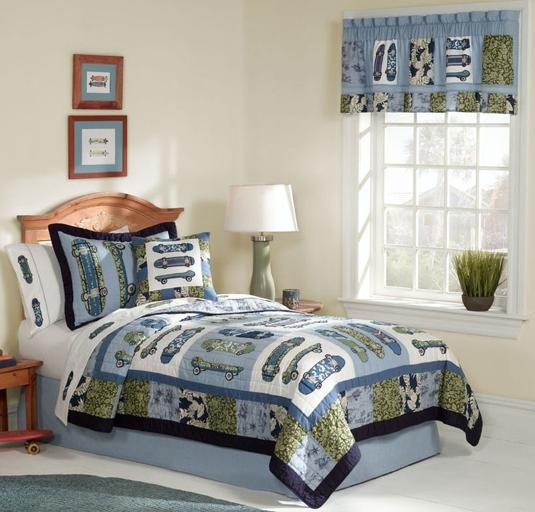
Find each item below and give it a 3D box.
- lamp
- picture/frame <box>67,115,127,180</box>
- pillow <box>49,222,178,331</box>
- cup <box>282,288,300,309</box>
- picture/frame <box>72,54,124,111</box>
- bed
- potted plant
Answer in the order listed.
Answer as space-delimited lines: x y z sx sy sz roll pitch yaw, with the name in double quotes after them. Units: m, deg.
-0.056 -0.076 3.722 0.606 0.729 0.531 -2 -4 2 "lamp"
-1.071 -0.687 3.382 0.543 0.389 0.022 6 9 29 "picture/frame"
-0.835 0.089 3.012 0.176 0.467 0.822 -11 -2 32 "pillow"
0.148 0.277 3.484 0.132 0.114 0.113 2 2 -1 "cup"
-1.061 -1.086 3.358 0.395 0.309 0.028 12 19 23 "picture/frame"
-0.191 0.277 2.795 2.202 1.134 1.316 5 13 39 "bed"
1.308 0.161 3.310 0.269 0.372 0.140 0 -6 14 "potted plant"
